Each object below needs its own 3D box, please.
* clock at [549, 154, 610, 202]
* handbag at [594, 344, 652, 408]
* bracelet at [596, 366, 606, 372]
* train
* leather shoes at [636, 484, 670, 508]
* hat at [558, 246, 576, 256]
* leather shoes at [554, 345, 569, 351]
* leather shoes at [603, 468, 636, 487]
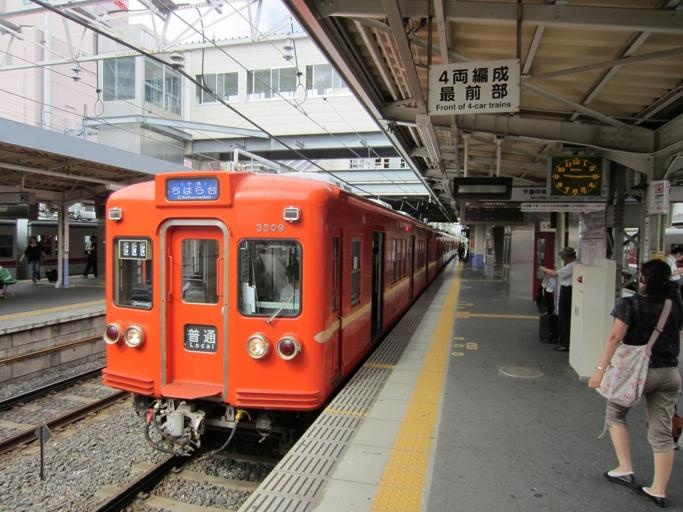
[{"bbox_3d":[4.841,-1.611,10.036,1.062,0.895,0.381,-1,1,21],"label":"clock"},{"bbox_3d":[2.768,1.141,4.770,0.431,0.589,0.183,25,8,24],"label":"handbag"},{"bbox_3d":[2.502,1.094,4.710,0.080,0.038,0.096,-1,-35,25],"label":"bracelet"},{"bbox_3d":[-0.601,0.541,6.873,2.274,3.310,4.339,6,9,43],"label":"train"},{"bbox_3d":[2.882,2.247,4.554,0.111,0.100,0.252,2,22,-45],"label":"leather shoes"},{"bbox_3d":[4.243,-0.088,9.172,0.259,0.160,0.370,3,6,27],"label":"hat"},{"bbox_3d":[4.099,1.731,9.136,0.256,0.110,0.089,2,13,30],"label":"leather shoes"},{"bbox_3d":[2.731,2.197,4.840,0.309,0.121,0.117,8,-6,34],"label":"leather shoes"}]
